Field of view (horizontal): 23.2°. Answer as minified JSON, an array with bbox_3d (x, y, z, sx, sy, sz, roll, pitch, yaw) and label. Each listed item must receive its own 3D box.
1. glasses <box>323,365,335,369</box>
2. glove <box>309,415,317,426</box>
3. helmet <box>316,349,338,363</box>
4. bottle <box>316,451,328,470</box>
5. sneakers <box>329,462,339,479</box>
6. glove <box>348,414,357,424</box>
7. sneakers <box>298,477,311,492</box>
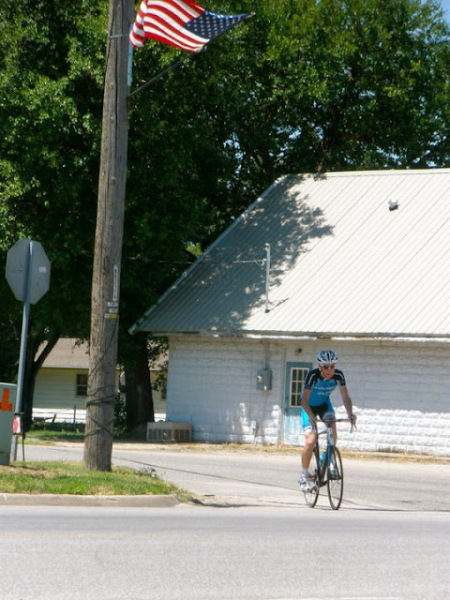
[{"bbox_3d":[1.267,0.826,13.413,0.144,0.056,0.119,0,-9,10],"label":"glasses"},{"bbox_3d":[1.084,1.461,13.359,0.065,0.137,0.127,1,-3,-2],"label":"glove"},{"bbox_3d":[1.266,0.712,13.501,0.217,0.198,0.396,1,-9,8],"label":"helmet"},{"bbox_3d":[1.196,1.948,13.348,0.149,0.308,0.169,-1,-38,3],"label":"bottle"},{"bbox_3d":[1.316,2.044,13.111,0.088,0.197,0.074,-8,-16,5],"label":"sneakers"},{"bbox_3d":[1.562,1.422,13.322,0.041,0.153,0.096,-6,-1,-26],"label":"glove"},{"bbox_3d":[1.006,2.301,13.734,0.124,0.150,0.190,6,-11,-41],"label":"sneakers"}]
